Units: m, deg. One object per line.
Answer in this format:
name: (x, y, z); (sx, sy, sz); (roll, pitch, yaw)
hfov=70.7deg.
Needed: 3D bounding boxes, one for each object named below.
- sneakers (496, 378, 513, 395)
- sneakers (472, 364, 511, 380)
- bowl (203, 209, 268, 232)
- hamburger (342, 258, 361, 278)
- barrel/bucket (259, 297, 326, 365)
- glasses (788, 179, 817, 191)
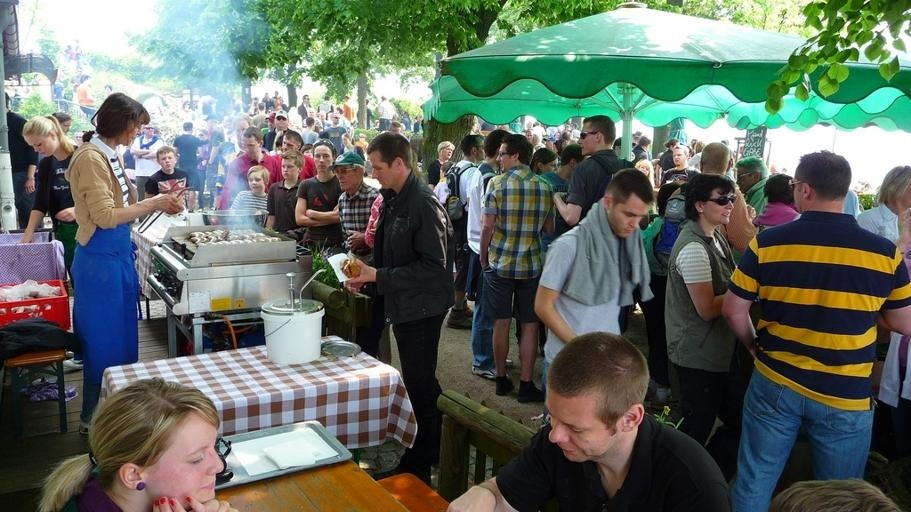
sneakers: (0.567, 1.461, 7.259); (0.108, 0.164, 0.264); (5, 20, 25)
sneakers: (0.371, 1.383, 7.642); (0.305, 0.118, 0.109); (2, 2, 34)
bowl: (-2.361, -0.390, 6.938); (0.470, 0.143, 0.431); (0, 2, 0)
hamburger: (-0.931, 0.103, 5.825); (0.183, 0.157, 0.059); (14, -2, 11)
barrel/bucket: (-1.231, 0.593, 5.145); (0.579, 0.433, 0.524); (-1, 5, -5)
glasses: (2.692, -0.562, 5.029); (0.105, 0.071, 0.284); (1, 10, 8)
